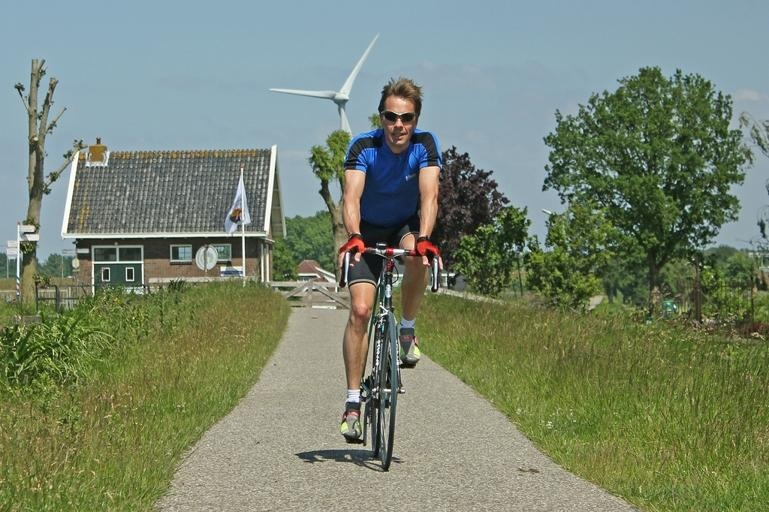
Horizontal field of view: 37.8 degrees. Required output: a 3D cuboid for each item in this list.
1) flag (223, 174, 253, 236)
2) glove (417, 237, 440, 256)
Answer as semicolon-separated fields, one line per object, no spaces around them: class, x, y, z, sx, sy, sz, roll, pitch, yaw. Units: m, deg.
flag;-6.526;-2.284;49.823;1.128;3.218;0.260;-4;41;-13
glove;0.639;-0.139;17.409;0.407;0.274;0.261;4;14;16
